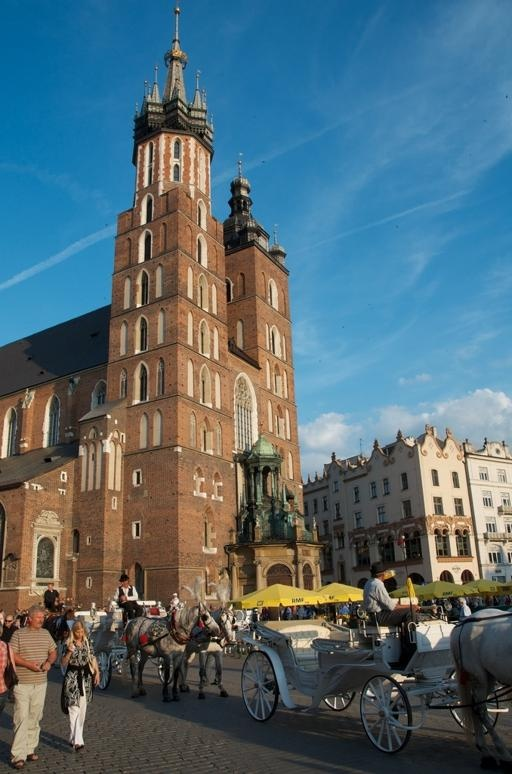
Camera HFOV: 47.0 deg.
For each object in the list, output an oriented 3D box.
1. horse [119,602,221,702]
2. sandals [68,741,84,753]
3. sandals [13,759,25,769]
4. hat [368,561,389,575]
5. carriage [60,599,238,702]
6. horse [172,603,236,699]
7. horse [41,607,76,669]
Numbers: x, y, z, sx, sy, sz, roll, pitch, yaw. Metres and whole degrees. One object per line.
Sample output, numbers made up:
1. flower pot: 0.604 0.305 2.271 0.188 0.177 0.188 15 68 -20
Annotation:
1. horse: -1.866 5.445 12.214 2.624 1.848 0.653 -14 -20 31
2. sandals: -2.274 4.565 7.538 0.172 0.126 0.311 3 -14 -16
3. sandals: -2.623 4.156 6.506 0.132 0.034 0.131 24 -51 -40
4. hat: 1.791 2.661 8.700 0.248 0.109 0.292 -8 -16 8
5. carriage: -2.195 5.491 12.502 3.749 1.673 0.897 -18 -22 31
6. horse: -1.090 5.894 13.294 0.597 1.860 2.497 14 -27 -20
7. horse: -5.429 7.051 17.106 0.609 1.536 2.485 -5 -10 -34
